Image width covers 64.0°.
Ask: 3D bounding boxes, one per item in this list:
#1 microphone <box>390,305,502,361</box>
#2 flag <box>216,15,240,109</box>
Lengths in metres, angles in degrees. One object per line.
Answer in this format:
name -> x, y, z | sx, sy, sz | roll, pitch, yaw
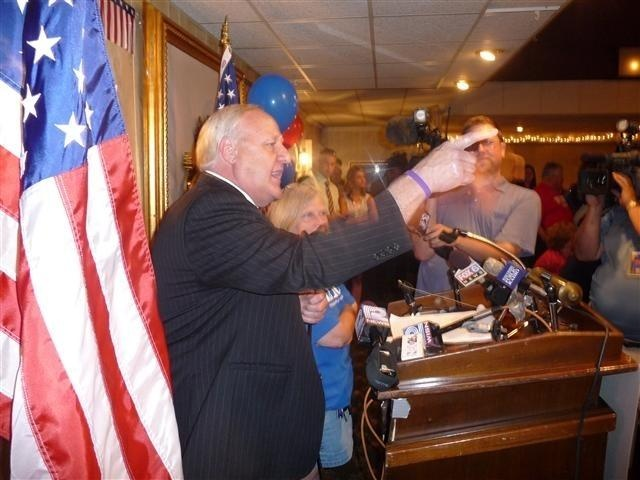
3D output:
microphone -> 0.530, 0.397, 2.254 | 0.300, 0.127, 0.242 | -4, 11, 2
flag -> -0.711, -1.334, 3.859 | 0.156, 0.728, 0.447 | -2, 4, -5
